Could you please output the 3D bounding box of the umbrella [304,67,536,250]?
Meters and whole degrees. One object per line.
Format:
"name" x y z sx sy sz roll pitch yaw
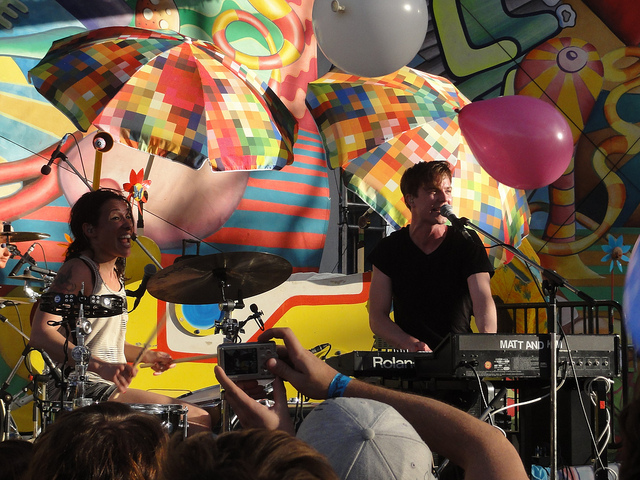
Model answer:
"umbrella" 0.998 -1.125 7.875 2.196 2.005 0.738 23 -51 -6

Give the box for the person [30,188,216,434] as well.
"person" -1.271 0.452 5.903 1.097 1.803 1.014 6 -16 -5

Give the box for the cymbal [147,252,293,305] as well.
"cymbal" -0.604 0.268 5.803 0.577 0.111 0.553 -8 -34 -7

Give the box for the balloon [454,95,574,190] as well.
"balloon" 1.469 -0.821 6.407 0.831 0.618 0.617 24 -54 12

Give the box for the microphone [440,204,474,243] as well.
"microphone" 0.965 -0.133 5.864 0.211 0.258 0.515 1 -16 12

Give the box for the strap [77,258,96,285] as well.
"strap" -1.502 0.223 5.855 0.129 0.159 0.016 5 -16 0

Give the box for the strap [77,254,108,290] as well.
"strap" -1.471 0.250 5.893 0.055 0.220 0.224 -15 -47 -10

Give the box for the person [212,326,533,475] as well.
"person" 0.236 0.810 3.961 1.296 0.699 0.638 10 -17 -18

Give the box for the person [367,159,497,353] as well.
"person" 0.812 0.157 5.991 1.120 1.414 1.184 -1 0 31
